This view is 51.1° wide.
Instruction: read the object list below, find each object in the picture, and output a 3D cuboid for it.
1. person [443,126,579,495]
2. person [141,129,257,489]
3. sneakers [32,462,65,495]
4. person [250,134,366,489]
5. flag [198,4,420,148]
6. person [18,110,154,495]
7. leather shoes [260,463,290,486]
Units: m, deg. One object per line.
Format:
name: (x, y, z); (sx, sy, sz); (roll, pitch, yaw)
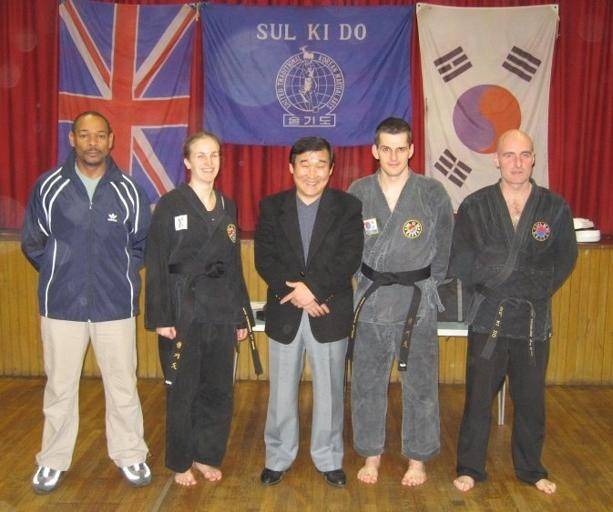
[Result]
person: (1.268, 0.481, 3.985); (0.767, 1.886, 0.495); (1, 9, 10)
person: (-0.637, 0.336, 3.932); (0.673, 2.144, 0.320); (-3, 9, -17)
sneakers: (-1.571, 1.363, 3.898); (0.083, 0.104, 0.229); (4, -1, -8)
person: (0.023, 0.343, 3.964); (0.661, 2.113, 0.407); (-1, 9, -7)
flag: (0.023, -1.636, 5.731); (1.469, 1.089, 0.027); (0, 3, -1)
person: (-1.331, 0.269, 3.935); (0.775, 2.255, 0.496); (-3, 9, -16)
leather shoes: (-0.207, 1.357, 3.992); (0.073, 0.079, 0.177); (2, 1, 26)
